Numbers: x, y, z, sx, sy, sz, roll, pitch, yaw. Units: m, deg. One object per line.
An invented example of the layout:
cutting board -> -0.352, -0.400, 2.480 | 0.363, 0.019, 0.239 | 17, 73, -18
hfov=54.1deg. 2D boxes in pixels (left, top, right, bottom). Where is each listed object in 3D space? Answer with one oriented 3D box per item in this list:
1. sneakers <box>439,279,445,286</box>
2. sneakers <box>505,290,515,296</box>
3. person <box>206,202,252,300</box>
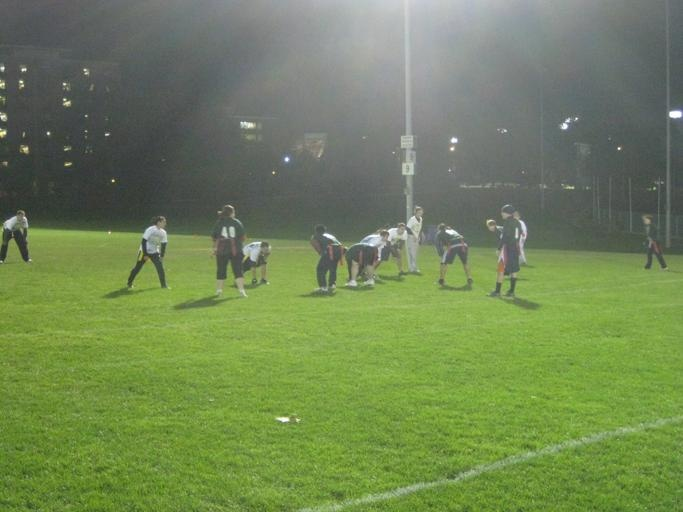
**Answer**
sneakers -> 2.742, 0.730, 18.612 | 0.152, 0.181, 0.158 | -1, -1, 32
sneakers -> 4.245, 0.933, 16.892 | 0.174, 0.176, 0.183 | 2, 3, 34
person -> -2.723, -0.107, 15.947 | 0.739, 2.217, 0.742 | -2, 10, -11
